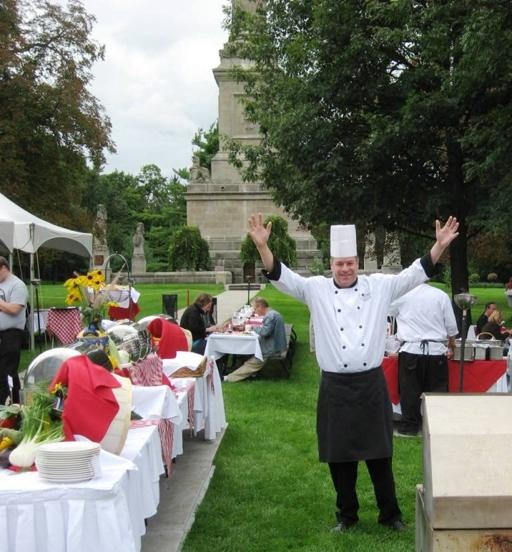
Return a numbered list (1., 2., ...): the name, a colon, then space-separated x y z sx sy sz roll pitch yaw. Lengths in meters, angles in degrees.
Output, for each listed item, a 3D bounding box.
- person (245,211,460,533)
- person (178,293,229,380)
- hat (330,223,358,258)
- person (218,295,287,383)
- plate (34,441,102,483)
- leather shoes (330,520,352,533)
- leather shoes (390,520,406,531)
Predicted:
1. person: 0.748 0.770 7.009 1.462 2.528 0.654 -2 -2 -1
2. person: -0.700 0.635 13.491 0.850 1.528 0.634 -2 12 -11
3. hat: 0.688 -0.274 7.126 0.235 0.338 0.239 0 10 6
4. person: 0.011 1.157 13.767 1.272 1.820 0.826 -1 -31 2
5. plate: -1.217 1.187 5.710 0.268 0.118 0.275 -2 -3 41
6. leather shoes: 0.690 2.023 7.262 0.155 0.071 0.069 -1 -4 8
7. leather shoes: 1.131 1.998 7.173 0.139 0.102 0.047 -7 6 -16
